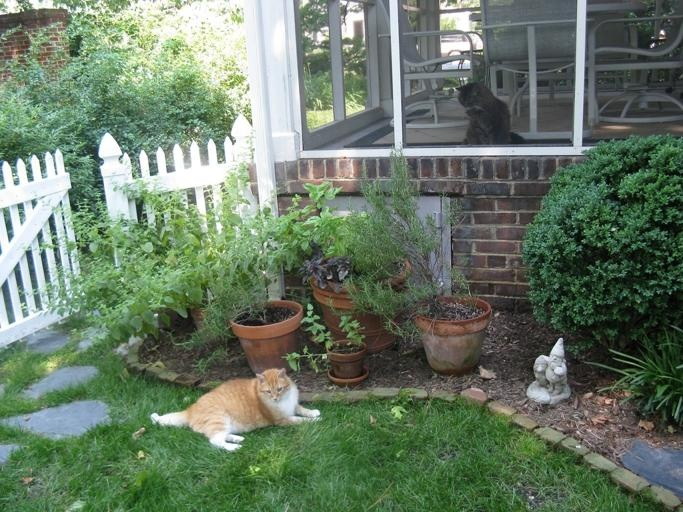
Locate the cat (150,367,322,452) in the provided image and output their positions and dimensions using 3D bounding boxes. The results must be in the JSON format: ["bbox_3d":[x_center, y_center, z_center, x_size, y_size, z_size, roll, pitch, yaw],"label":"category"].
[{"bbox_3d":[-0.669,1.011,3.701,0.972,0.350,0.520,-6,18,0],"label":"cat"}]

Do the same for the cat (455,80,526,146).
[{"bbox_3d":[1.308,-1.286,5.016,0.442,0.518,0.830,-3,17,11],"label":"cat"}]
